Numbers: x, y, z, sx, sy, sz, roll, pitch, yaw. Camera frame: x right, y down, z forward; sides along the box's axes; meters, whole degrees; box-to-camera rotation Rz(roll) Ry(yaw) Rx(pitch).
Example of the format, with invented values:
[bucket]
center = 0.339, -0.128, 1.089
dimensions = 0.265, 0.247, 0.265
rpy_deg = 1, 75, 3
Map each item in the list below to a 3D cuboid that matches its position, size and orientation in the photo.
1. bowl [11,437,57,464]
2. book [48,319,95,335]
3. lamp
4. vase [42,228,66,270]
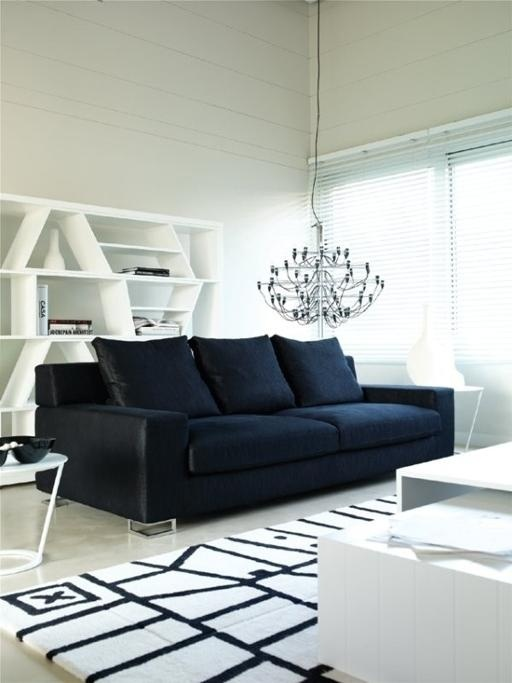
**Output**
[bowl]
center = -0.773, 0.363, 2.046
dimensions = 0.098, 0.044, 0.108
rpy_deg = -3, -1, -28
[book]
center = -1.198, -0.093, 3.780
dimensions = 0.102, 0.117, 0.296
rpy_deg = -8, -8, 44
[lamp]
center = 0.549, -0.507, 5.060
dimensions = 0.985, 0.964, 1.142
rpy_deg = 2, -8, 10
[vase]
center = -1.287, -0.582, 3.752
dimensions = 0.121, 0.351, 0.338
rpy_deg = -1, -6, -20
